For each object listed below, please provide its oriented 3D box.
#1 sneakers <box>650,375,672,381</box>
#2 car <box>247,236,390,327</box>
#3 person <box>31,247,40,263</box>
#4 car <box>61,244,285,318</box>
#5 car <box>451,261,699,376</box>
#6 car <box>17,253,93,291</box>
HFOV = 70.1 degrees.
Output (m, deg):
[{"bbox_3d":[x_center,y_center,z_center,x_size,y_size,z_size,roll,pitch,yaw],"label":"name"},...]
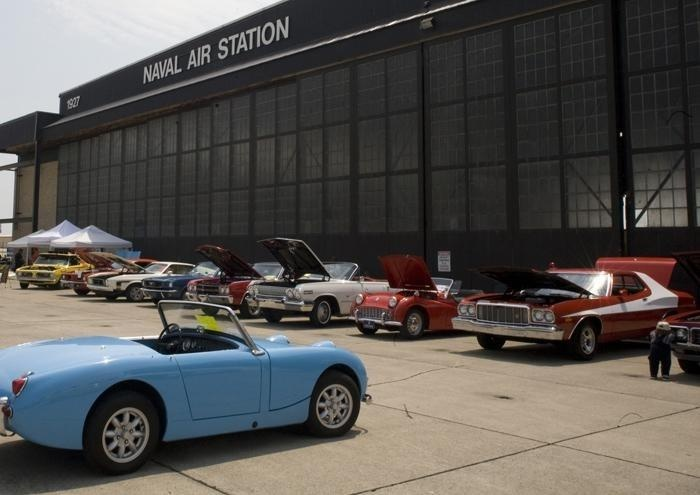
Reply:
[{"bbox_3d":[5.680,2.400,9.140,0.400,0.069,0.205,1,-1,5],"label":"sneakers"},{"bbox_3d":[-0.841,1.206,16.256,4.429,1.869,2.414,6,-9,-43],"label":"car"},{"bbox_3d":[-22.280,0.562,35.499,1.029,0.919,0.238,20,1,43],"label":"person"},{"bbox_3d":[-4.613,1.185,17.309,4.361,1.706,2.584,-3,5,-32],"label":"car"},{"bbox_3d":[5.189,1.530,11.682,4.397,1.636,2.352,2,-5,-29],"label":"car"},{"bbox_3d":[-15.640,1.272,29.027,2.563,1.726,4.367,-1,-3,26],"label":"car"}]
